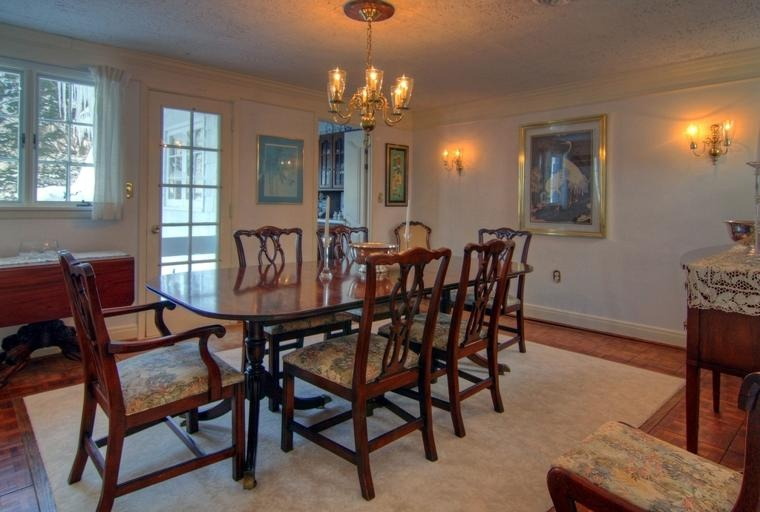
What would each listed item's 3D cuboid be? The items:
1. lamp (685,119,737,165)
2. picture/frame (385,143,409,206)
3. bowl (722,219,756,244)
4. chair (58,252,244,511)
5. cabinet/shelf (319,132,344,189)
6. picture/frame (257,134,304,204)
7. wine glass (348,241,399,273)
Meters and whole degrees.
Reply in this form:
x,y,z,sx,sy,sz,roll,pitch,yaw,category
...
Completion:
x,y,z,sx,sy,sz,roll,pitch,yaw,category
3.162,-1.080,4.830,0.402,0.477,0.352,-1,9,-10,lamp
0.252,-1.118,6.981,0.469,0.862,0.039,-8,12,-39,picture/frame
2.423,-0.165,3.398,0.155,0.109,0.162,-1,6,0,bowl
-1.340,0.708,2.966,0.996,1.469,0.560,-4,11,-26,chair
-0.755,-1.472,7.811,0.247,0.866,0.817,-6,11,-32,cabinet/shelf
-1.162,-1.017,5.791,0.069,1.031,0.850,4,4,43,picture/frame
-0.053,-0.003,3.878,0.273,0.158,0.273,0,-2,2,wine glass
